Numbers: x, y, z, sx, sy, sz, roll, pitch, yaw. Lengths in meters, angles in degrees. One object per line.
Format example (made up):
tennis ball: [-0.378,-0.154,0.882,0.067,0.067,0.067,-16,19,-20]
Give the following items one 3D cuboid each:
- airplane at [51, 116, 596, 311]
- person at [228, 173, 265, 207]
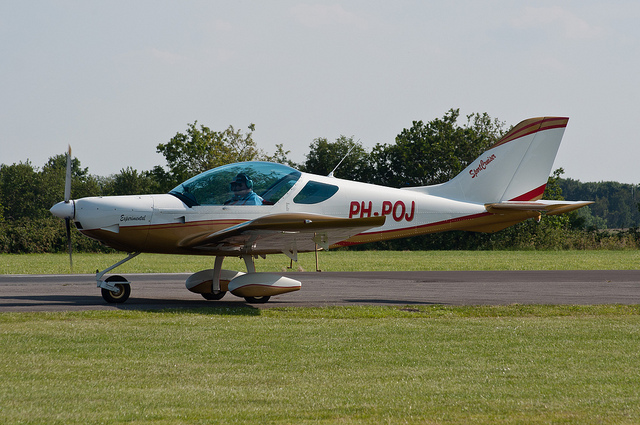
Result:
airplane: [-2.087,0.107,31.753,13.447,5.445,21.119,2,-3,-15]
person: [-1.861,-0.564,23.386,0.827,0.805,1.685,3,-1,-26]
